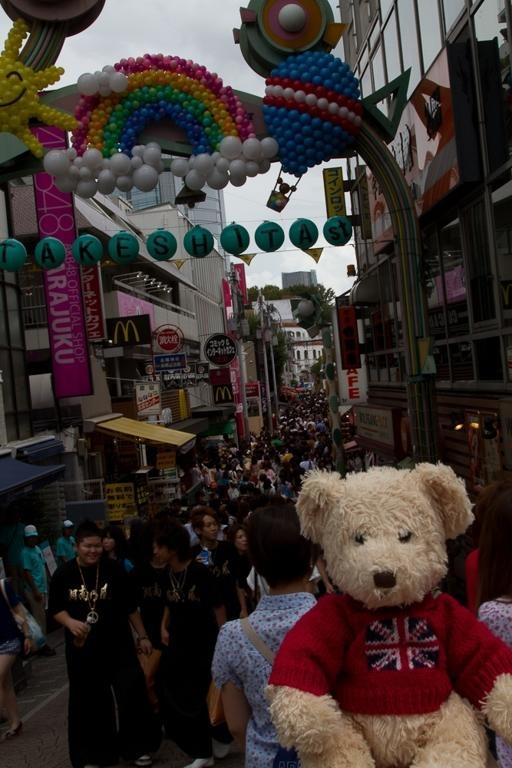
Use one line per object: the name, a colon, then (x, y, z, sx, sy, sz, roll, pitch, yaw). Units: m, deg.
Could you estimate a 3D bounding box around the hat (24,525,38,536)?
hat: (-3.822, 2.494, 9.319, 0.221, 0.174, 0.318, -2, -5, -15)
